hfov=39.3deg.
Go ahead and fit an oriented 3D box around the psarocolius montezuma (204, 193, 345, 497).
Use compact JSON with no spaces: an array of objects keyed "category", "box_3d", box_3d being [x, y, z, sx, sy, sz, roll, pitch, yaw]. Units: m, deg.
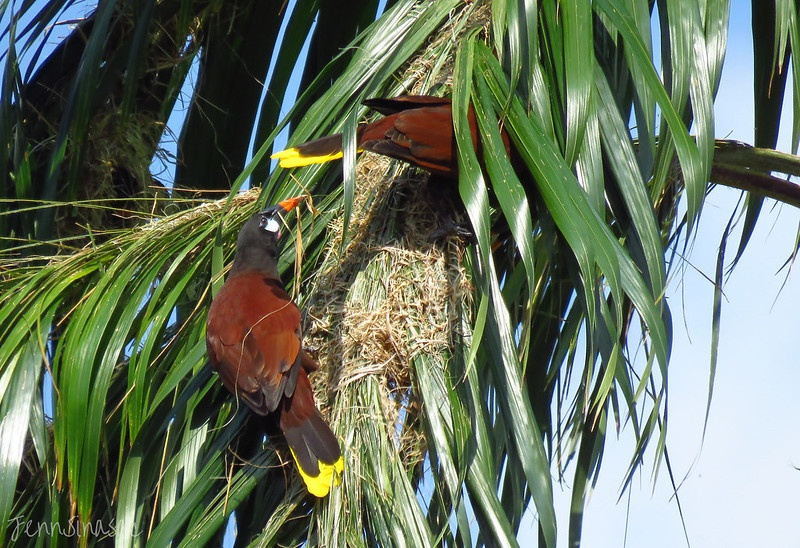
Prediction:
[{"category":"psarocolius montezuma","box_3d":[-0.577,0.325,4.791,0.411,1.543,0.544,-25,-27,28]}]
